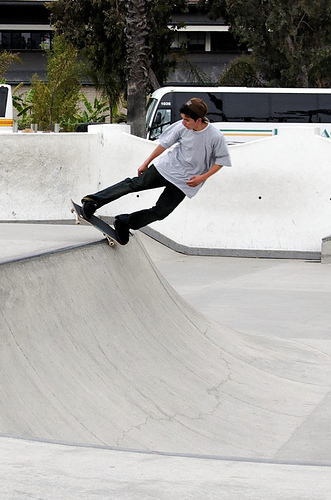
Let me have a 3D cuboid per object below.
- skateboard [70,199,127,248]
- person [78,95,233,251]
[{"bbox_3d":[-0.496,-0.130,6.631,0.500,0.069,0.186,43,17,-2],"label":"skateboard"},{"bbox_3d":[-0.064,-0.579,6.909,0.552,1.021,0.997,18,14,42],"label":"person"}]
